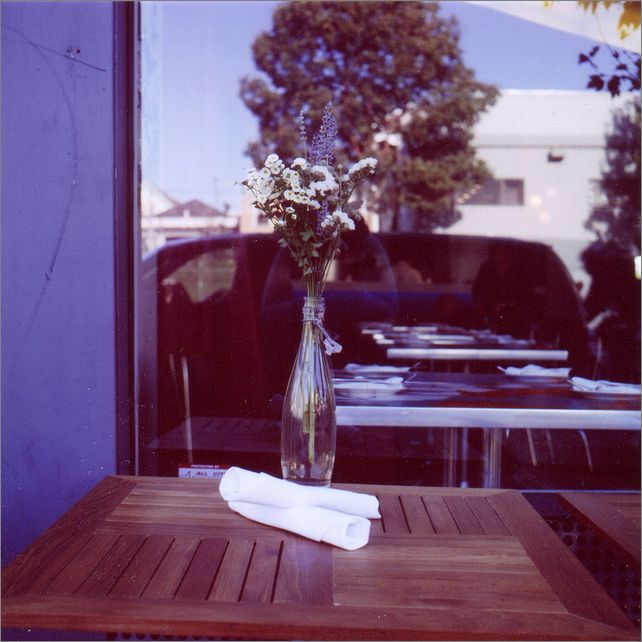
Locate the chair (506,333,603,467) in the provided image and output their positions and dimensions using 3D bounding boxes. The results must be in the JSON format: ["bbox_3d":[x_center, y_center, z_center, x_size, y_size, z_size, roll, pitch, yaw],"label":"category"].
[{"bbox_3d":[0.689,0.221,2.441,0.375,0.499,0.321,1,4,11],"label":"chair"}]

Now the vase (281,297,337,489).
[{"bbox_3d":[-0.025,0.152,1.617,0.107,0.384,0.090,-10,15,-41],"label":"vase"}]
